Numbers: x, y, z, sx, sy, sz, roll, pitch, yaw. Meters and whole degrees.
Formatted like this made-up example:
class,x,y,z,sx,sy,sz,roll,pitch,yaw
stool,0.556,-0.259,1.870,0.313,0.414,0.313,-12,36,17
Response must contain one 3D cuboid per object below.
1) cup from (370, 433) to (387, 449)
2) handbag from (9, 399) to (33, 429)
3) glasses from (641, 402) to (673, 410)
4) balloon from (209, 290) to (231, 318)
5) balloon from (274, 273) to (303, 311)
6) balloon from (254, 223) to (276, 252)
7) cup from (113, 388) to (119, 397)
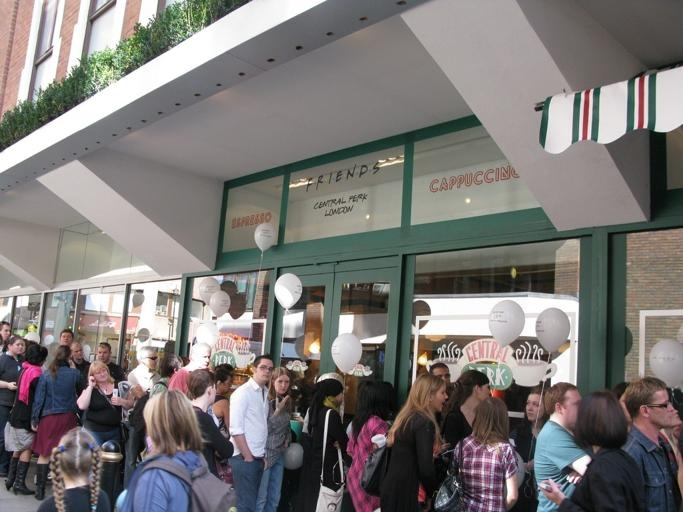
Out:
class,x,y,z,sx,sy,sz,roll,pitch,yaw
cup,0.336,1.642,4.534,0.127,0.103,0.135,-4,18,1
handbag,-4.185,2.075,6.728,0.269,0.372,0.196,9,-23,-11
glasses,2.194,1.024,3.538,0.221,0.040,0.082,7,-15,-23
balloon,-1.893,0.738,7.977,0.339,0.479,0.358,3,-2,-11
balloon,-0.726,0.495,6.857,0.372,0.523,0.427,9,-19,-10
balloon,-1.125,-0.280,7.702,0.304,0.412,0.437,2,-13,-3
cup,-2.770,1.683,6.328,0.071,0.128,0.074,0,-9,0
